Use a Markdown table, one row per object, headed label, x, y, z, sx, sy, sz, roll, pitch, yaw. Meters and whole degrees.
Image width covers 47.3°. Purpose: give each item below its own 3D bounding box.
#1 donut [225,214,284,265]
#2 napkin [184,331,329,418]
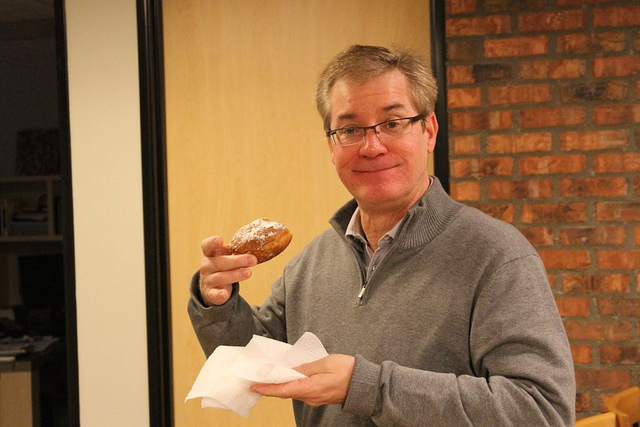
| label | x | y | z | sx | sy | sz | roll | pitch | yaw |
| --- | --- | --- | --- | --- | --- | --- | --- | --- | --- |
| donut | -0.254 | 0.135 | 3.243 | 0.240 | 0.177 | 0.320 | -12 | 10 | 23 |
| napkin | -0.242 | 0.640 | 2.906 | 0.541 | 0.314 | 0.141 | -2 | -2 | -1 |
